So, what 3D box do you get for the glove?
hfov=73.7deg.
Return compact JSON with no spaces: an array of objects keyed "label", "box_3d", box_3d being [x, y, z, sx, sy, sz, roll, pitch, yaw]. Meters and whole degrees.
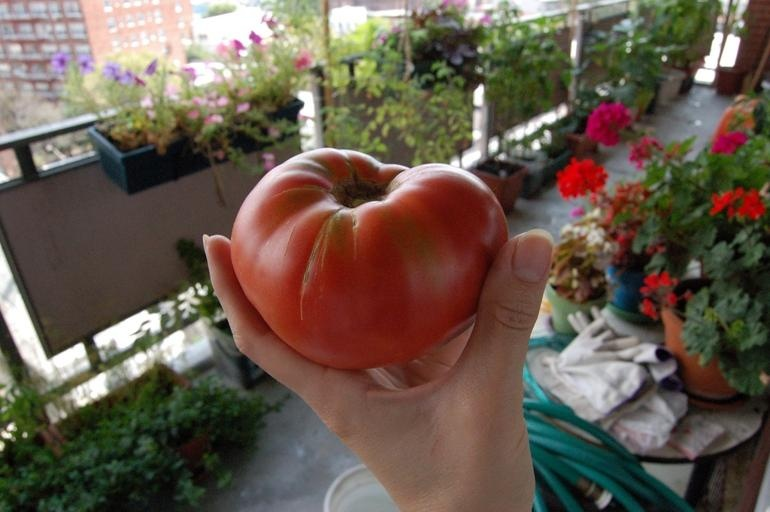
[{"label":"glove","box_3d":[0.657,0.320,1.566,0.279,0.096,0.272,-46,39,-12]}]
